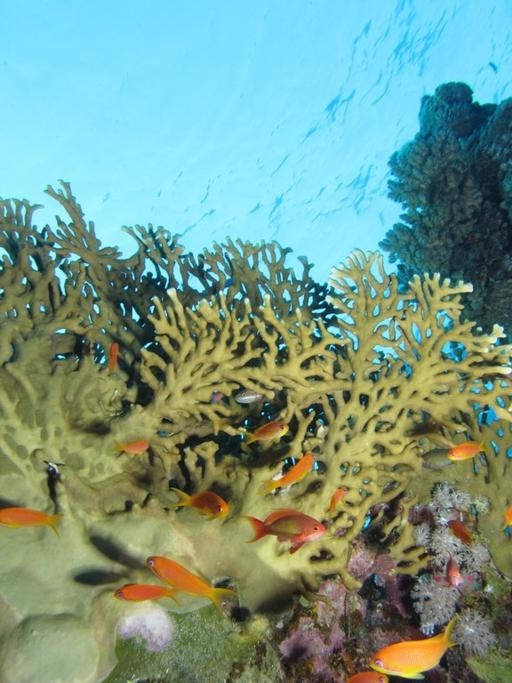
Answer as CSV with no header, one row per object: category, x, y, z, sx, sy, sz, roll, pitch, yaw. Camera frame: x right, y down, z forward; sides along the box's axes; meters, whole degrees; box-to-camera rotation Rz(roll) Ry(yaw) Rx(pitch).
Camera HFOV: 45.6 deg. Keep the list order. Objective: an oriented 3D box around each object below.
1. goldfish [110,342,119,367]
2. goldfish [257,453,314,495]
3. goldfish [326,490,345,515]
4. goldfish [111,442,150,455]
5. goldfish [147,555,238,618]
goldfish,-1.247,0.112,5.277,0.060,0.218,0.126,10,17,-4
goldfish,0.224,1.027,4.642,0.571,0.217,0.159,-24,1,-9
goldfish,0.626,1.232,4.695,0.124,0.241,0.282,4,3,8
goldfish,-1.009,0.838,4.777,0.275,0.077,0.149,0,-31,7
goldfish,-0.420,1.487,3.775,0.525,0.318,0.124,3,3,-6
